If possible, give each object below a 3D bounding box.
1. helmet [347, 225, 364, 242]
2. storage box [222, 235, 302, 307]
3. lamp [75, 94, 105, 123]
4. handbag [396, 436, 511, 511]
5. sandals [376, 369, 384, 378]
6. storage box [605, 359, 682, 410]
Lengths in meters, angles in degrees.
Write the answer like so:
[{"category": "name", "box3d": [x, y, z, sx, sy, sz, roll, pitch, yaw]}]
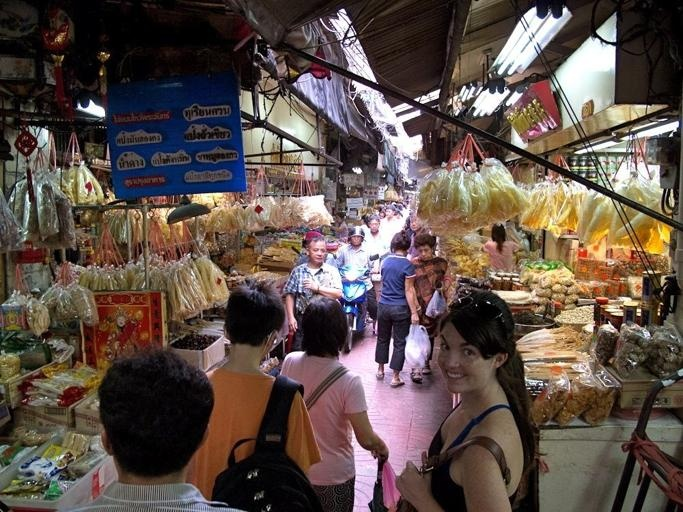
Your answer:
[{"category": "helmet", "box3d": [0.244, -0.382, 8.523, 0.253, 0.359, 0.306, 0, 44, 0]}, {"category": "storage box", "box3d": [-1.215, 0.256, 7.785, 0.946, 0.334, 0.977, 4, 10, 17]}, {"category": "lamp", "box3d": [-2.123, -1.237, 4.148, 0.161, 0.159, 0.403, 1, 5, 2]}, {"category": "handbag", "box3d": [0.495, 0.882, 2.120, 0.446, 0.292, 0.194, 6, 7, 44]}, {"category": "sandals", "box3d": [0.487, 1.500, 6.197, 0.085, 0.111, 0.237, 0, -6, 0]}, {"category": "storage box", "box3d": [1.994, 0.893, 3.242, 0.379, 0.190, 0.287, 0, -3, 3]}]
